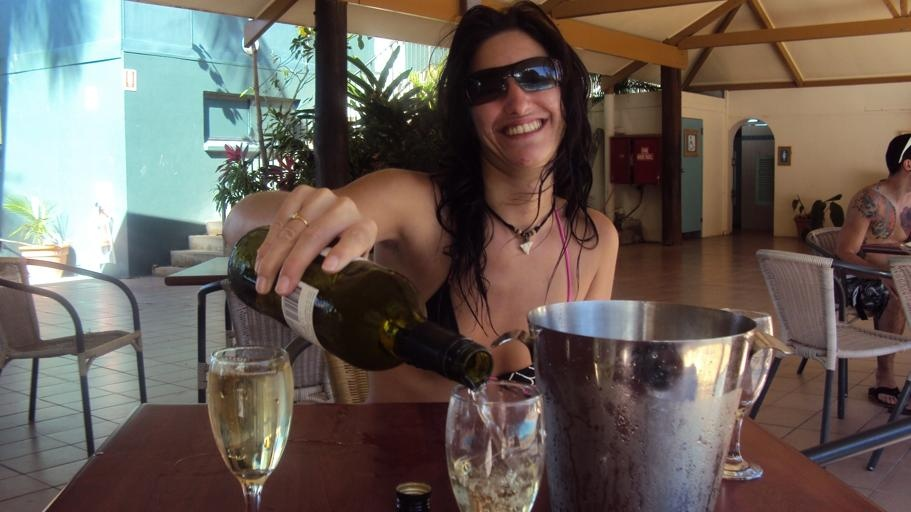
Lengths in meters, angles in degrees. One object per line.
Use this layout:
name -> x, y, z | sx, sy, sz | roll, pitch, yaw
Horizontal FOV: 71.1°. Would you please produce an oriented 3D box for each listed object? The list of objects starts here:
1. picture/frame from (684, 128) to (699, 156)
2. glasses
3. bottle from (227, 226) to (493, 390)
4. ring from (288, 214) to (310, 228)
picture/frame -> 5.028, -2.443, 13.566 | 0.597, 0.599, 0.052 | -9, 10, -43
glasses -> 0.234, -0.705, 2.574 | 0.377, 0.201, 0.054 | 1, 1, 1
bottle -> -0.359, 0.205, 2.363 | 1.177, 0.363, 0.357 | 17, -8, 43
ring -> -0.517, -0.123, 2.124 | 0.058, 0.036, 0.021 | 1, 1, 7
